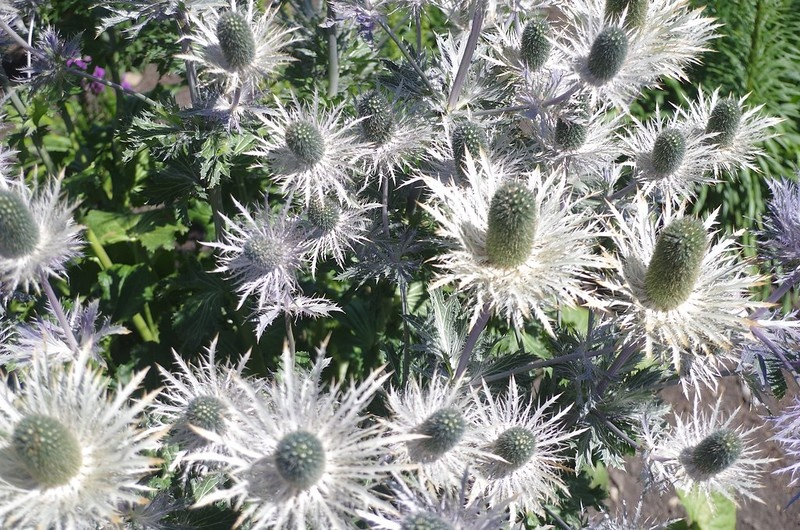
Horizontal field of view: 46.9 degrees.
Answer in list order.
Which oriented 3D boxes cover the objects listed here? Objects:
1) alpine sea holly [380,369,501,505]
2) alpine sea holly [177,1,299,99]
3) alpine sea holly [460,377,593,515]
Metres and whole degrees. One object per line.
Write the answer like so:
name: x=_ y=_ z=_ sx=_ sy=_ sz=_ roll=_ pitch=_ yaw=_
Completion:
alpine sea holly: x=0.232 y=1.094 z=6.057 sx=0.699 sy=0.631 sz=0.689 roll=34 pitch=38 yaw=-6
alpine sea holly: x=-1.111 y=-1.507 z=6.367 sx=0.662 sy=0.455 sz=0.785 roll=8 pitch=93 yaw=-7
alpine sea holly: x=0.780 y=1.239 z=6.116 sx=0.835 sy=0.447 sz=0.923 roll=17 pitch=55 yaw=-8
